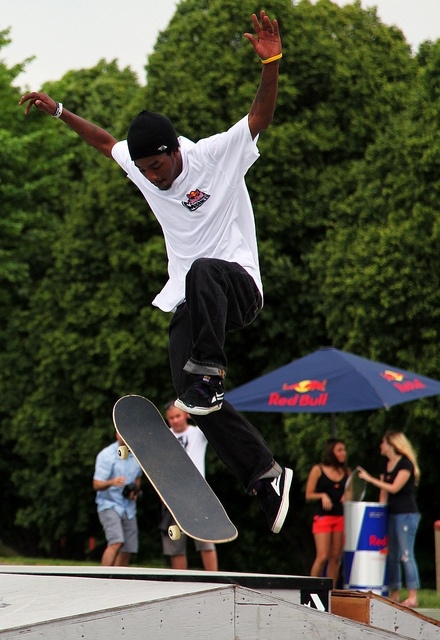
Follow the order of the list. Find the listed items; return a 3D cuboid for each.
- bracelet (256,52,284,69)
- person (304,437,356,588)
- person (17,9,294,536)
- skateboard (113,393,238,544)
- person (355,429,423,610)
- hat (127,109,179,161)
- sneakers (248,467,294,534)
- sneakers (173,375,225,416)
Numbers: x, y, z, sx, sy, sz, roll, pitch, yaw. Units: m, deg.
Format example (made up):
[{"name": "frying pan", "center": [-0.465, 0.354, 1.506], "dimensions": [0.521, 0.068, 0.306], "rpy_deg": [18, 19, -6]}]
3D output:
[{"name": "bracelet", "center": [0.350, -1.772, 8.062], "dimensions": [0.135, 0.091, 0.282], "rpy_deg": [-1, 1, 4]}, {"name": "person", "center": [1.040, 1.835, 11.269], "dimensions": [0.419, 1.337, 0.665], "rpy_deg": [-1, 1, 5]}, {"name": "person", "center": [-0.224, -0.336, 8.285], "dimensions": [1.421, 3.606, 0.951], "rpy_deg": [-1, 1, 15]}, {"name": "skateboard", "center": [-0.363, 0.997, 8.369], "dimensions": [0.377, 1.439, 0.239], "rpy_deg": [-22, 31, 11]}, {"name": "person", "center": [1.589, 1.836, 10.860], "dimensions": [0.506, 1.610, 0.687], "rpy_deg": [-1, 1, 9]}, {"name": "hat", "center": [-0.481, -1.276, 8.232], "dimensions": [0.315, 0.336, 0.355], "rpy_deg": [-10, 44, 2]}, {"name": "sneakers", "center": [0.362, 1.217, 8.227], "dimensions": [0.253, 0.592, 0.200], "rpy_deg": [14, 45, 11]}, {"name": "sneakers", "center": [-0.141, 0.497, 7.860], "dimensions": [0.367, 0.246, 0.162], "rpy_deg": [-1, 1, -16]}]
